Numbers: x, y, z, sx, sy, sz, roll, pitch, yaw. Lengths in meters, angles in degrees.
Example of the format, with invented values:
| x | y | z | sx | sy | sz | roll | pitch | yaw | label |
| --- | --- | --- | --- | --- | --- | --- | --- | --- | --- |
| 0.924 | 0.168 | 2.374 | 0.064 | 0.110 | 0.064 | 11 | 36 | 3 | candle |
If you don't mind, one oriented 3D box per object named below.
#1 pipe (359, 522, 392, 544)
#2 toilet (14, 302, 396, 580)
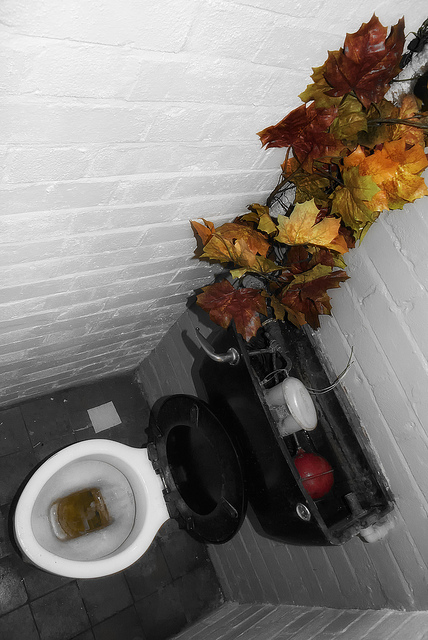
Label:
| x | y | z | sx | sy | sz | roll | pitch | yaw | label |
| --- | --- | --- | --- | --- | --- | --- | --- | --- | --- |
| 0.361 | 0.468 | 1.065 | 0.084 | 0.048 | 0.030 | 0 | 51 | -41 | pipe |
| -0.121 | 0.463 | 1.348 | 0.775 | 0.805 | 0.595 | -26 | 76 | -32 | toilet |
